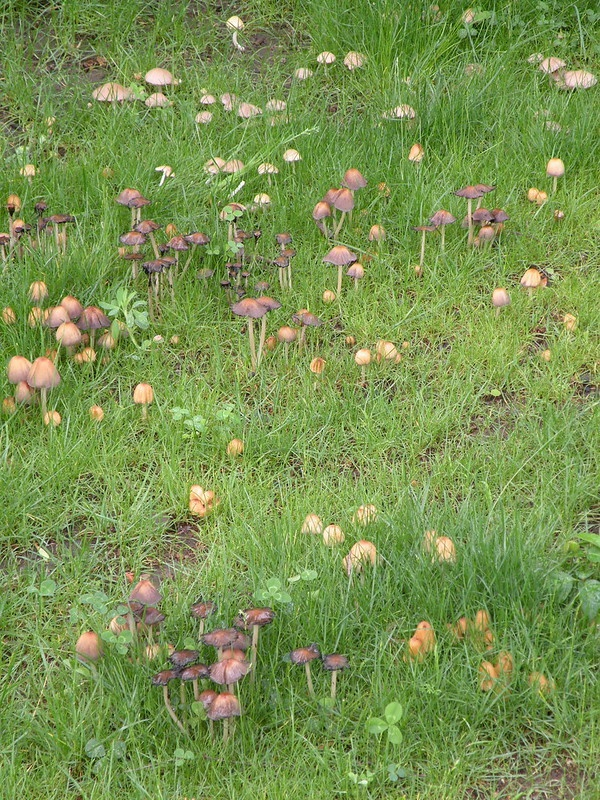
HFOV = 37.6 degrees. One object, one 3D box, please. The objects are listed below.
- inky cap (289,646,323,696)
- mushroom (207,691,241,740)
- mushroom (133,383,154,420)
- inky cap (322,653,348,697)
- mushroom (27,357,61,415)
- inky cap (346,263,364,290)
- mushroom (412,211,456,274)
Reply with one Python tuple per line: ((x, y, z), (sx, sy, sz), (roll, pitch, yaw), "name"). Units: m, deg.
((0.020, 0.839, 2.735), (0.080, 0.163, 0.084), (8, 24, 27), "inky cap")
((-0.225, 0.928, 2.584), (0.084, 0.184, 0.111), (7, 22, 5), "mushroom")
((-0.733, 0.012, 4.097), (0.069, 0.205, 0.092), (6, 41, -2), "mushroom")
((0.110, 0.881, 2.804), (0.067, 0.136, 0.084), (14, 42, 15), "inky cap")
((-1.132, -0.049, 3.850), (0.133, 0.283, 0.158), (10, 11, 15), "mushroom")
((0.301, -0.674, 4.799), (0.083, 0.162, 0.095), (0, 25, -20), "inky cap")
((0.776, -0.888, 5.053), (0.192, 0.440, 0.143), (-16, 40, -23), "mushroom")
